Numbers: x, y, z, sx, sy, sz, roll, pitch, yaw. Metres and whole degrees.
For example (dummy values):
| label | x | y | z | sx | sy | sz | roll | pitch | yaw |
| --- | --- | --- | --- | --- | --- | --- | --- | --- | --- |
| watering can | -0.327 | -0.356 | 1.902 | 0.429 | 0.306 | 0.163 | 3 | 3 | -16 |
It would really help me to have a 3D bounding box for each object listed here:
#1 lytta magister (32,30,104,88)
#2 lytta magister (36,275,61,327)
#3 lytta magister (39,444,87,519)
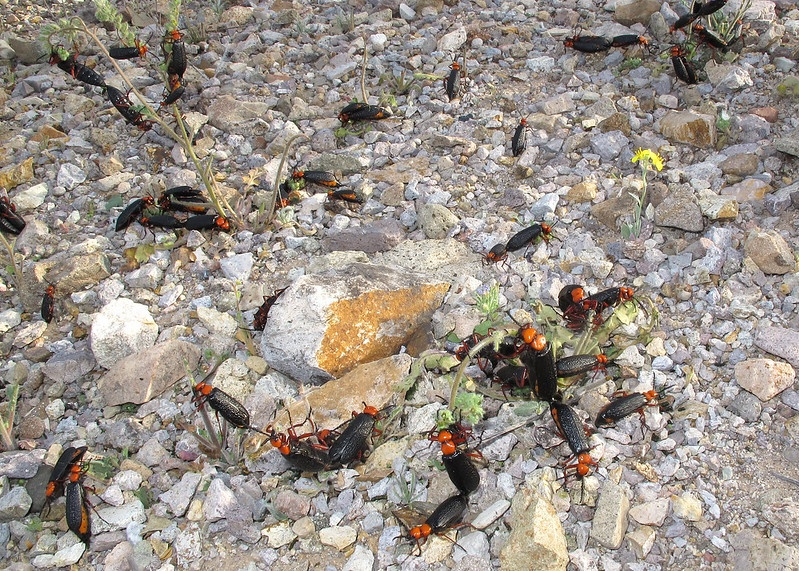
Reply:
| label | x | y | z | sx | sy | sz | roll | pitch | yaw |
| --- | --- | --- | --- | --- | --- | --- | --- | --- | --- |
| lytta magister | -3.951 | -2.691 | 8.796 | 0.148 | 0.520 | 0.346 | 42 | 90 | 7 |
| lytta magister | -3.490 | 0.155 | 7.204 | 0.187 | 0.133 | 0.377 | 15 | 96 | 50 |
| lytta magister | -2.936 | 1.633 | 6.164 | 0.377 | 0.136 | 0.505 | 26 | 47 | -20 |
